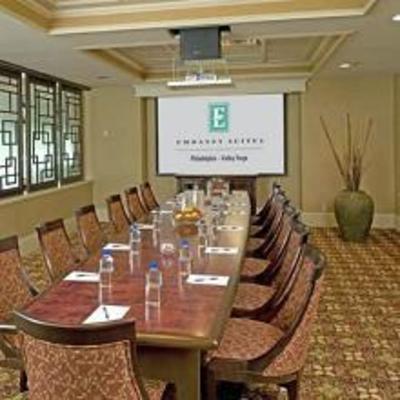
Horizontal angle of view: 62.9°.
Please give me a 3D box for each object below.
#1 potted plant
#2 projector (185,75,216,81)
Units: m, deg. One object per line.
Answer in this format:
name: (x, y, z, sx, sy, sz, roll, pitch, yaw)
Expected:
potted plant: (2.759, -0.527, 6.363, 1.019, 2.389, 1.405, 3, 9, 23)
projector: (0.011, -1.603, 4.290, 0.399, 0.093, 0.076, 0, 8, 4)
